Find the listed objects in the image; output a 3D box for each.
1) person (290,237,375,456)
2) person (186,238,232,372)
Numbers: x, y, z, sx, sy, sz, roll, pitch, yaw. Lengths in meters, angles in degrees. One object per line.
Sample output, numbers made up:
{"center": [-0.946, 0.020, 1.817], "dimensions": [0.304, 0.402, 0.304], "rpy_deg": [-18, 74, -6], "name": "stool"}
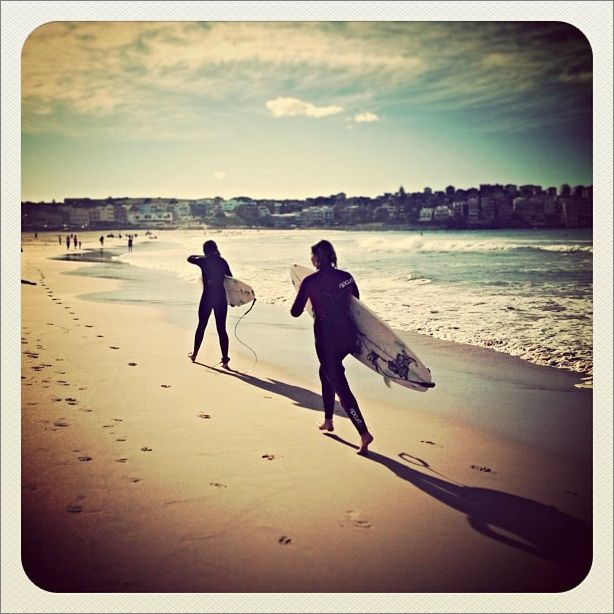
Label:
{"center": [0.240, 0.346, 5.812], "dimensions": [0.730, 1.944, 0.842], "rpy_deg": [-4, 10, -14], "name": "person"}
{"center": [-1.369, -0.096, 8.687], "dimensions": [0.603, 1.684, 1.414], "rpy_deg": [-3, 9, -9], "name": "person"}
